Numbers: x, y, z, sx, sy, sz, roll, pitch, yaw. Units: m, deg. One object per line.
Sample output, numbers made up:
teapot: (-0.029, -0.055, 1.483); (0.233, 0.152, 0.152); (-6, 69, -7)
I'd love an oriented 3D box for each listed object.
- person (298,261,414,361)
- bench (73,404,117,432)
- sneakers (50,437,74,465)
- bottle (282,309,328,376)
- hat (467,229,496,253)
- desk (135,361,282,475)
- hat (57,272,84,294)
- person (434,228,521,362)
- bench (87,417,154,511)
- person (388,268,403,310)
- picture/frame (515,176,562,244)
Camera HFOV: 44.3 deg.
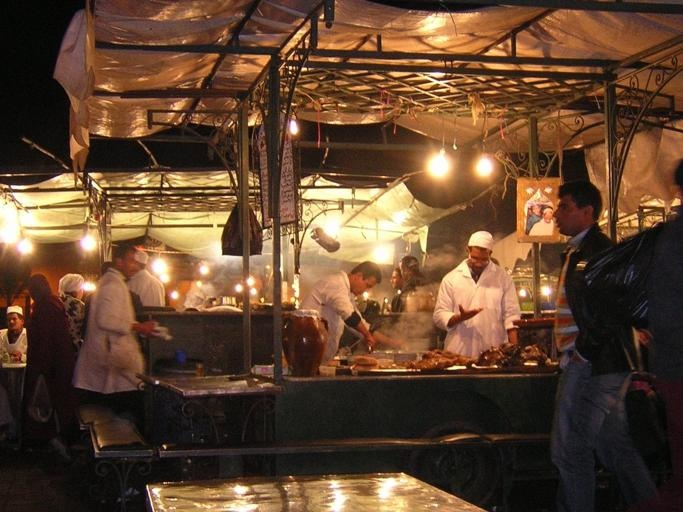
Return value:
person: (0.058, 0.642, 9.738); (0.979, 1.173, 1.211); (0, -5, 8)
bench: (-2.712, 1.735, 9.153); (0.306, 0.136, 0.522); (2, -1, -27)
sneakers: (-3.523, 2.413, 10.465); (0.188, 0.242, 0.590); (6, -9, -39)
bottle: (-0.354, 0.817, 7.922); (0.394, 0.615, 0.300); (1, -5, -4)
hat: (1.590, -0.176, 9.628); (0.240, 0.169, 0.263); (6, 2, 1)
desk: (-1.266, 1.535, 8.097); (1.055, 0.989, 1.958); (0, -2, -17)
hat: (-3.681, 0.355, 11.499); (0.253, 0.318, 0.324); (19, 31, 27)
person: (1.488, 0.435, 9.633); (1.074, 1.411, 0.853); (4, -6, -31)
bench: (-2.210, 2.109, 8.318); (0.586, 0.906, 2.111); (2, -5, -16)
person: (0.987, 0.580, 15.590); (0.318, 0.925, 0.910); (3, -5, 2)
picture/frame: (2.276, -0.538, 9.716); (0.755, 1.052, 0.108); (-1, 2, -3)
